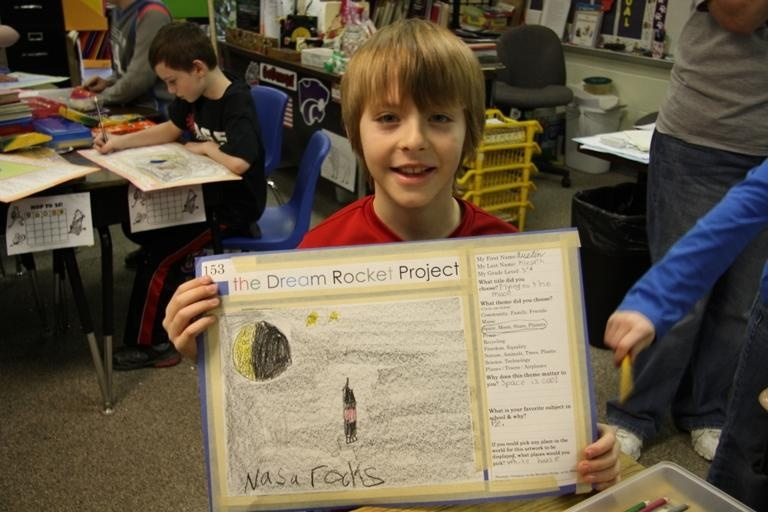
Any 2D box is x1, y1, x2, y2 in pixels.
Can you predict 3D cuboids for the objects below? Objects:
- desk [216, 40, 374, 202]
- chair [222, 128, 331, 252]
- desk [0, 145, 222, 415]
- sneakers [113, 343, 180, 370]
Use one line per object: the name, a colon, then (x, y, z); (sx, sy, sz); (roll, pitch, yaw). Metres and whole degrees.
desk: (-0.484, -0.750, 3.477); (0.610, 0.623, 1.252); (-7, 38, -23)
chair: (-0.505, -0.332, 3.208); (0.598, 0.748, 0.491); (1, 19, -12)
desk: (-1.201, -0.007, 3.242); (0.852, 1.112, 1.140); (13, 21, 37)
sneakers: (-1.173, 0.470, 3.145); (0.310, 0.167, 0.123); (1, 18, -14)
